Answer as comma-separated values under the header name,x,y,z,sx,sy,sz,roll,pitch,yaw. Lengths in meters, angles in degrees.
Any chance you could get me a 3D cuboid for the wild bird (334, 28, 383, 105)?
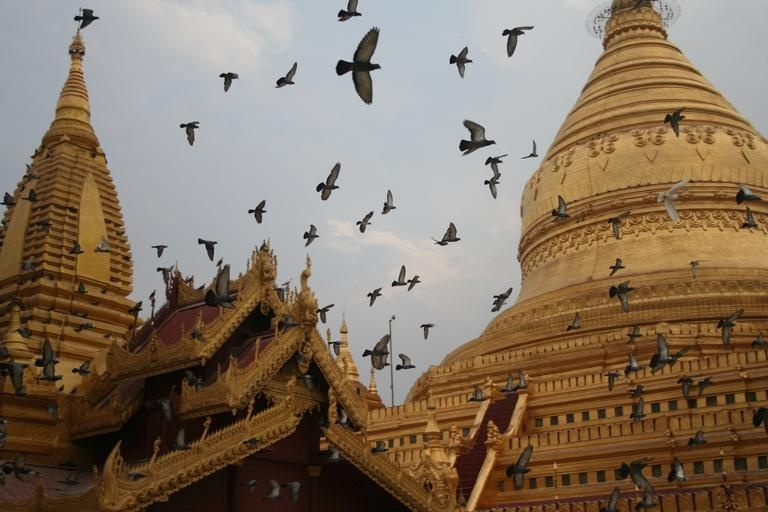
name,x,y,z,sx,sy,sz,roll,pitch,yaw
wild bird,-0.671,-5.108,50.565,0.996,1.816,1.426,5,-36,1
